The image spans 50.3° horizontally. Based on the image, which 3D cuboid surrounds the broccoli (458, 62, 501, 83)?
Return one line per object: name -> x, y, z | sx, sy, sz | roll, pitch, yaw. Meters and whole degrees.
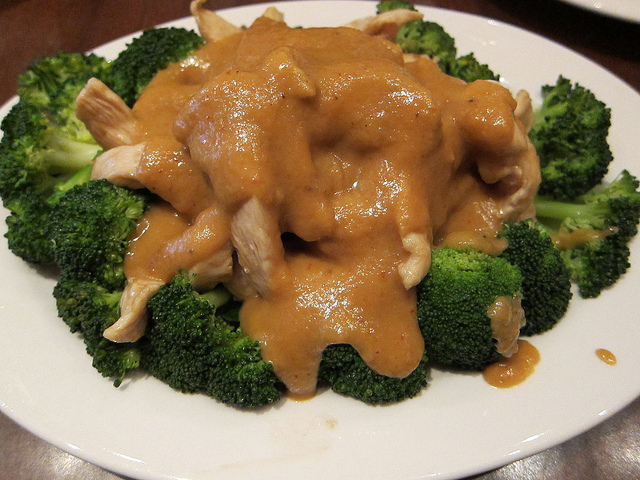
broccoli -> 1.168, -1.229, 5.061 | 0.218, 0.256, 0.129 | 11, 102, -12
